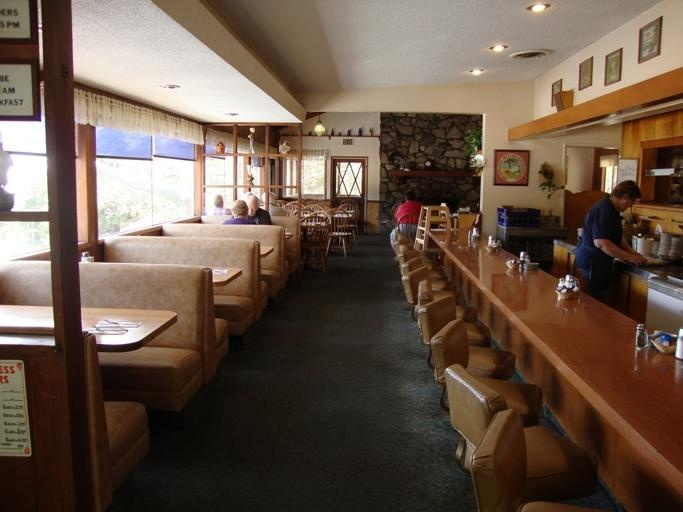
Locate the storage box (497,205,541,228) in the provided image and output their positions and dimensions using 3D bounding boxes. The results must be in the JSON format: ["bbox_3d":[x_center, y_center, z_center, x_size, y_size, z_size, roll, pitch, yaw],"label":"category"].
[{"bbox_3d":[2.952,-0.641,8.575,0.703,0.337,0.541,3,13,12],"label":"storage box"}]

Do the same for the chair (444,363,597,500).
[{"bbox_3d":[0.748,0.725,2.418,0.619,0.621,0.606,-7,11,-12],"label":"chair"}]

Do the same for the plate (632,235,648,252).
[{"bbox_3d":[2.780,-0.123,4.867,0.135,0.209,0.132,0,2,26],"label":"plate"}]

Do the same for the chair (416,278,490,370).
[{"bbox_3d":[0.677,0.386,3.513,0.539,0.704,0.515,-1,18,6],"label":"chair"}]

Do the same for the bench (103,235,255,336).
[{"bbox_3d":[-1.398,0.061,5.060,1.724,0.905,0.888,2,6,6],"label":"bench"}]

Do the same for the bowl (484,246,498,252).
[{"bbox_3d":[1.566,-0.068,5.462,0.126,0.048,0.140,9,15,34],"label":"bowl"}]

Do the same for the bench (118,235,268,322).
[{"bbox_3d":[-1.377,0.017,5.076,1.584,0.825,0.776,1,9,4],"label":"bench"}]

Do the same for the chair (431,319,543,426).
[{"bbox_3d":[0.771,0.577,2.875,0.684,0.697,0.472,1,18,14],"label":"chair"}]

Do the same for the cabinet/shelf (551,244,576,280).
[{"bbox_3d":[2.530,0.066,5.896,0.173,0.308,0.317,0,23,9],"label":"cabinet/shelf"}]

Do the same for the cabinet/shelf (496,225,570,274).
[{"bbox_3d":[3.028,-0.219,8.612,1.247,1.235,0.733,0,3,3],"label":"cabinet/shelf"}]

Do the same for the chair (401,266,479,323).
[{"bbox_3d":[0.734,0.306,3.955,0.478,0.575,0.423,1,15,9],"label":"chair"}]

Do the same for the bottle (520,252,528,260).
[{"bbox_3d":[1.688,-0.002,4.815,0.066,0.061,0.065,-10,12,-44],"label":"bottle"}]

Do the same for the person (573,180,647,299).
[{"bbox_3d":[2.462,0.030,4.780,0.598,1.426,0.545,8,18,33],"label":"person"}]

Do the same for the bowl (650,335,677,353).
[{"bbox_3d":[1.607,0.429,2.568,0.091,0.040,0.091,-2,2,0],"label":"bowl"}]

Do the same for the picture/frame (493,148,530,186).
[{"bbox_3d":[2.894,-1.549,8.808,0.621,0.651,0.054,1,2,2],"label":"picture/frame"}]

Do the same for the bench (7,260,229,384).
[{"bbox_3d":[-1.401,0.405,3.201,0.897,0.405,0.439,2,6,6],"label":"bench"}]

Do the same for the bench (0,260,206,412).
[{"bbox_3d":[-1.483,0.448,3.672,1.734,0.896,0.946,1,5,7],"label":"bench"}]

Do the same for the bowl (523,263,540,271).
[{"bbox_3d":[1.625,0.094,4.446,0.101,0.034,0.074,-2,6,-7],"label":"bowl"}]

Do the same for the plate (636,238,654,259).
[{"bbox_3d":[2.801,-0.069,4.805,0.161,0.157,0.157,-1,6,12],"label":"plate"}]
